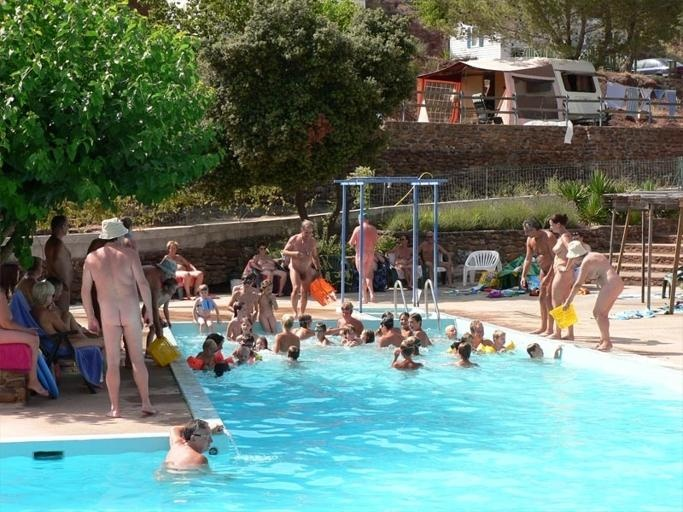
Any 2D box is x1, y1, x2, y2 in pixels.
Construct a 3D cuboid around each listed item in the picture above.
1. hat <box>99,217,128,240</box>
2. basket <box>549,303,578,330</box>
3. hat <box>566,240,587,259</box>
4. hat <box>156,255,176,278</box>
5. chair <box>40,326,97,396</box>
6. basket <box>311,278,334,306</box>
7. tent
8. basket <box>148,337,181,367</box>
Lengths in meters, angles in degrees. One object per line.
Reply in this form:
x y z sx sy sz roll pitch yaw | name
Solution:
-2.707 -0.310 9.749 0.274 0.277 0.458 -1 9 -17 | hat
3.508 0.949 12.906 0.369 0.396 0.205 2 9 5 | basket
3.771 -0.090 13.076 0.331 0.322 0.411 4 9 18 | hat
-2.560 0.187 12.011 0.253 0.359 0.639 0 9 -12 | hat
-3.423 1.319 10.406 0.760 0.893 0.606 0 1 -7 | chair
-0.414 0.767 16.532 0.482 0.531 0.154 -37 13 -33 | basket
6.370 -7.069 34.877 5.684 2.736 2.738 4 9 15 | tent
-2.574 1.367 11.848 0.438 0.451 0.334 0 9 -12 | basket
